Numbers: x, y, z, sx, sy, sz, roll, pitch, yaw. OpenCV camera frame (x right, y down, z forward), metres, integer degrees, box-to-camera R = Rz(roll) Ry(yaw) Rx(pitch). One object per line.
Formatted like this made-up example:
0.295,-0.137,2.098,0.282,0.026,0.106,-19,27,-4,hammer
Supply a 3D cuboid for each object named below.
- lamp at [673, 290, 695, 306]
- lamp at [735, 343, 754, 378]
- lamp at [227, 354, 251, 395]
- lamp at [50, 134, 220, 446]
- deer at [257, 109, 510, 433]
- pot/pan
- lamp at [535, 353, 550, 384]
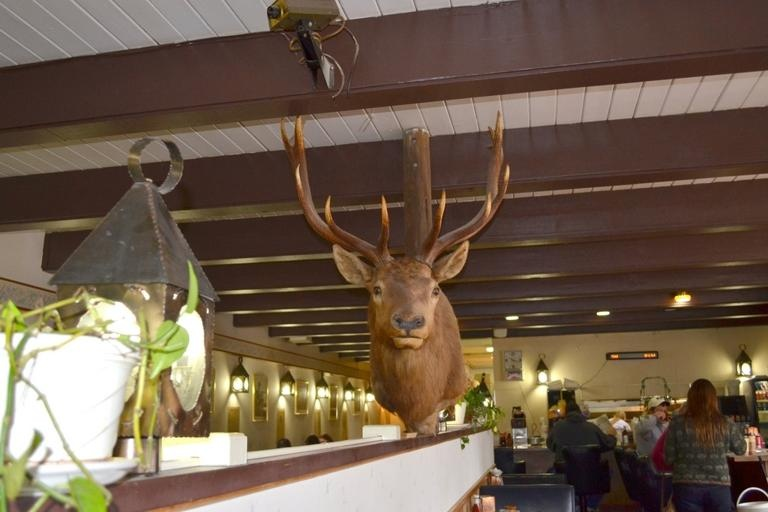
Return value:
4.348,0.648,8.782,0.211,0.226,0.218,-10,-18,41,lamp
6.730,1.987,11.261,0.324,0.625,0.287,-5,-16,17,lamp
-2.343,1.925,9.746,0.346,0.569,0.348,6,-7,-35,lamp
-0.658,0.056,1.576,0.367,0.791,0.363,7,-12,-33,lamp
0.099,0.042,3.503,1.041,1.919,1.389,-11,-19,34,deer
-0.577,0.272,1.176,0.216,0.185,0.233,0,-15,-1,pot/pan
3.089,2.223,11.763,0.274,0.577,0.179,-4,-16,14,lamp
